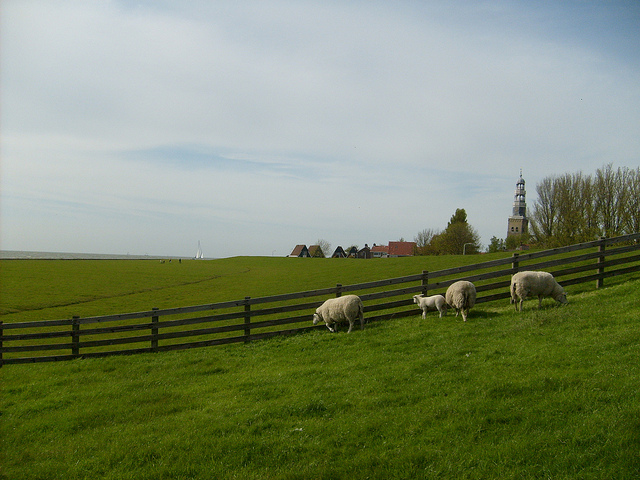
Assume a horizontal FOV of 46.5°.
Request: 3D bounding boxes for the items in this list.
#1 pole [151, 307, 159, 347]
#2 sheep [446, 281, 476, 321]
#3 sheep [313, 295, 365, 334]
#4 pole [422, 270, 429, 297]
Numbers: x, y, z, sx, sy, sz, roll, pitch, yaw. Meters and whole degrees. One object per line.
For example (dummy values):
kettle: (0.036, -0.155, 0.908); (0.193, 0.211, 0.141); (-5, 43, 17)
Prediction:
pole: (-6.080, 3.257, 27.509); (0.241, 1.408, 0.491); (0, -3, -10)
sheep: (5.338, 2.263, 27.913); (0.663, 1.412, 1.124); (1, -3, -26)
sheep: (0.747, 2.804, 28.376); (0.634, 1.389, 2.206); (2, -4, -45)
pole: (4.129, 1.741, 29.308); (0.188, 0.997, 0.571); (-1, -3, 7)
